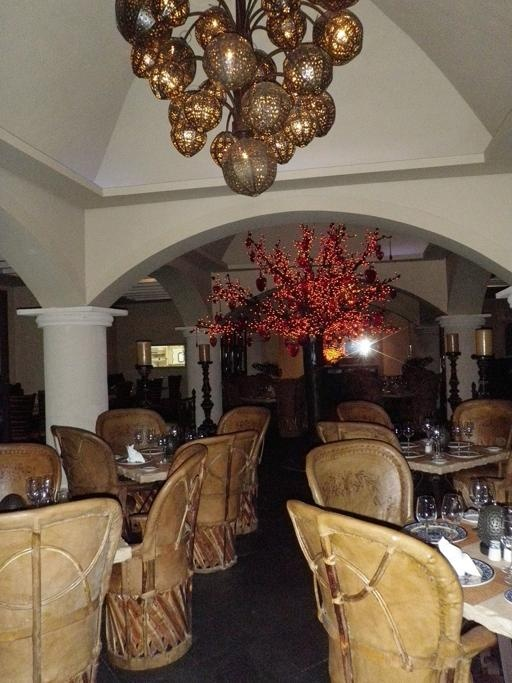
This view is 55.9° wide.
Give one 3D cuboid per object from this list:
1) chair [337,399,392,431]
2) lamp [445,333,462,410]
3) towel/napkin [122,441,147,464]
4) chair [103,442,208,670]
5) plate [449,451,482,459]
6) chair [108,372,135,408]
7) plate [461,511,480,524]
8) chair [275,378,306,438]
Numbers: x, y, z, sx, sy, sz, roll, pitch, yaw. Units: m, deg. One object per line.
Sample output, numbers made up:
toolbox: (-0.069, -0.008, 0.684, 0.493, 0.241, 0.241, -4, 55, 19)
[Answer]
chair: (1.013, 0.745, 4.613, 0.346, 0.313, 0.317, -11, 2, 24)
lamp: (2.810, 0.425, 6.894, 0.169, 1.091, 0.575, 1, -3, 23)
towel/napkin: (-0.931, 0.847, 3.706, 0.143, 0.207, 0.206, 4, -6, 19)
chair: (-0.451, 0.998, 2.175, 0.407, 1.019, 0.407, 3, -3, -16)
plate: (1.597, 0.870, 3.680, 0.223, 0.023, 0.241, 1, -3, 16)
chair: (-3.483, 1.240, 12.464, 0.626, 0.713, 4.058, 3, -3, -16)
plate: (0.944, 0.769, 2.115, 0.085, 0.021, 0.090, -2, 0, -25)
chair: (0.673, 1.265, 9.245, 0.698, 1.145, 0.441, 3, -3, -6)
